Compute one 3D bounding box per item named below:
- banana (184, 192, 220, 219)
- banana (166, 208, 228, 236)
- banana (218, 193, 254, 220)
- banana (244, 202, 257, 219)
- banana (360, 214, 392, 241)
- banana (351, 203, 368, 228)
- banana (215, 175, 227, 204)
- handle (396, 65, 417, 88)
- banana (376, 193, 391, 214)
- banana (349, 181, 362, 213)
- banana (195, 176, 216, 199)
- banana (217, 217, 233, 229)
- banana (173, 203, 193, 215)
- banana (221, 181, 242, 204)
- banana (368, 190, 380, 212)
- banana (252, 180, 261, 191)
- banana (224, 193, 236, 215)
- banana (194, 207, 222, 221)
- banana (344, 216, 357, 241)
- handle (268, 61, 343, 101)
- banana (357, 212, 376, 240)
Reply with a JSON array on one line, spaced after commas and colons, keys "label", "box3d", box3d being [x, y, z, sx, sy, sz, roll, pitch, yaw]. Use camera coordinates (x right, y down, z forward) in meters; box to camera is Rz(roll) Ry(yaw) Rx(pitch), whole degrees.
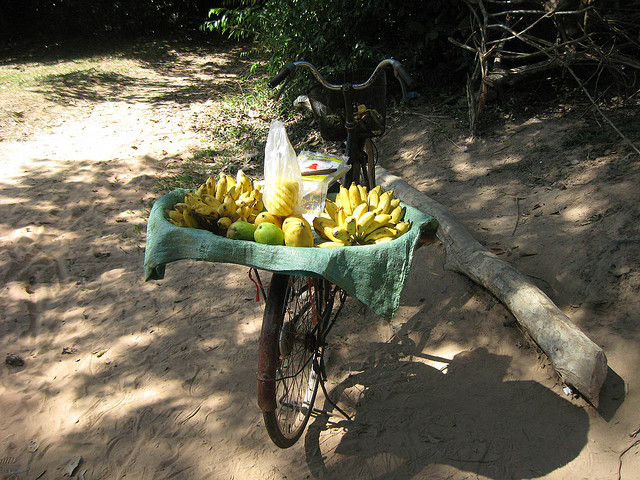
[{"label": "banana", "box3d": [-0.898, -0.266, 4.139, 0.110, 0.141, 0.401, -23, 37, -30]}, {"label": "banana", "box3d": [-0.863, -0.125, 3.994, 0.359, 0.141, 0.088, 12, -18, 2]}, {"label": "banana", "box3d": [-0.623, -0.235, 4.035, 0.145, 0.131, 0.238, 17, 33, -18]}, {"label": "banana", "box3d": [-0.510, -0.222, 4.115, 0.033, 0.126, 0.045, 26, -8, 29]}, {"label": "banana", "box3d": [0.402, -0.091, 4.021, 0.196, 0.067, 0.045, -44, 65, -12]}, {"label": "banana", "box3d": [0.290, -0.194, 4.083, 0.063, 0.071, 0.208, -19, 35, 30]}, {"label": "banana", "box3d": [-0.735, -0.382, 4.169, 0.059, 0.071, 0.214, 10, 51, -1]}, {"label": "handle", "box3d": [0.673, -1.301, 4.473, 0.129, 0.159, 0.413, 3, 21, 7]}, {"label": "banana", "box3d": [0.471, -0.268, 4.134, 0.131, 0.123, 0.086, -19, 28, -40]}, {"label": "banana", "box3d": [0.263, -0.320, 4.154, 0.060, 0.224, 0.070, -8, -9, 2]}, {"label": "banana", "box3d": [-0.877, -0.398, 4.285, 0.083, 0.110, 0.305, -32, 34, -4]}, {"label": "banana", "box3d": [-0.674, -0.122, 3.995, 0.111, 0.071, 0.047, -11, 24, -27]}, {"label": "banana", "box3d": [-0.994, -0.231, 4.111, 0.064, 0.096, 0.242, -14, 10, -33]}, {"label": "banana", "box3d": [-0.653, -0.358, 4.189, 0.063, 0.090, 0.246, 8, 30, 13]}, {"label": "banana", "box3d": [0.406, -0.297, 4.199, 0.050, 0.061, 0.190, 8, 63, 7]}, {"label": "banana", "box3d": [-0.486, -0.398, 4.285, 0.055, 0.094, 0.091, -11, 34, 0]}, {"label": "banana", "box3d": [-0.650, -0.269, 4.067, 0.078, 0.128, 0.130, -1, 21, -3]}, {"label": "banana", "box3d": [-0.805, -0.190, 3.998, 0.185, 0.085, 0.031, -2, 21, -5]}, {"label": "banana", "box3d": [0.218, -0.088, 4.029, 0.045, 0.176, 0.069, -17, 5, 1]}, {"label": "handle", "box3d": [-0.090, -1.337, 4.656, 0.751, 0.321, 0.087, -16, 42, -26]}, {"label": "banana", "box3d": [0.323, -0.128, 4.014, 0.063, 0.238, 0.076, 28, -3, 2]}]
